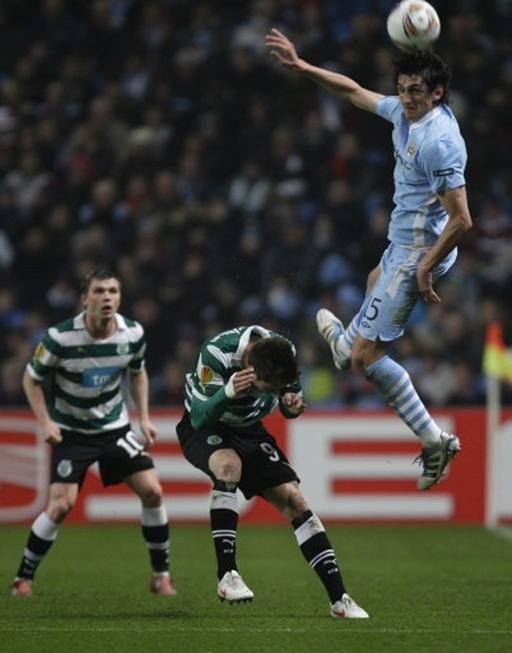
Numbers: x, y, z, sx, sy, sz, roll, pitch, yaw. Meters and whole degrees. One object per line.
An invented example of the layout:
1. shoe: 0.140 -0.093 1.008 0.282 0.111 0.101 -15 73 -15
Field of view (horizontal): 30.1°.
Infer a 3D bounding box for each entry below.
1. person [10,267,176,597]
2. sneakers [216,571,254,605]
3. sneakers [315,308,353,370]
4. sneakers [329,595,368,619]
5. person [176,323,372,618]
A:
1. person: -0.847 0.574 5.019 0.852 1.713 0.472 1 6 -13
2. sneakers: -0.085 1.132 4.096 0.089 0.101 0.220 -2 -5 -28
3. sneakers: 0.426 0.088 5.344 0.127 0.134 0.410 -39 24 7
4. sneakers: 0.425 1.263 4.291 0.174 0.122 0.154 1 5 -2
5. person: 0.037 0.723 4.465 0.690 1.436 0.905 -1 6 -26
